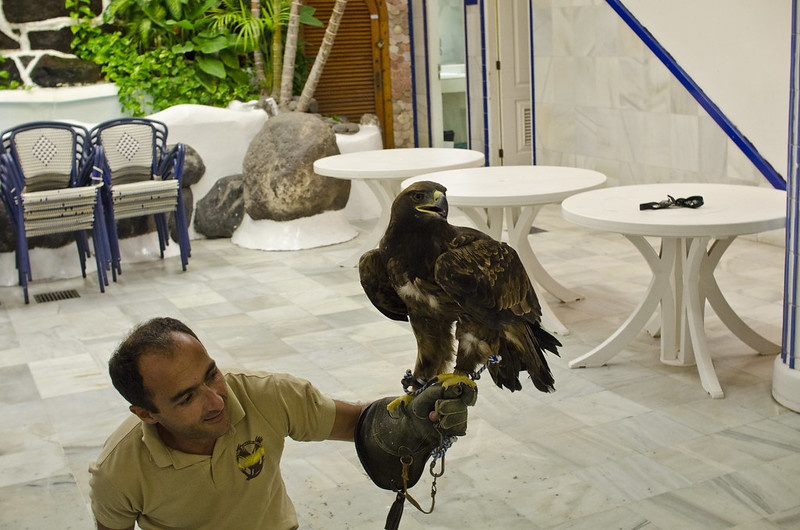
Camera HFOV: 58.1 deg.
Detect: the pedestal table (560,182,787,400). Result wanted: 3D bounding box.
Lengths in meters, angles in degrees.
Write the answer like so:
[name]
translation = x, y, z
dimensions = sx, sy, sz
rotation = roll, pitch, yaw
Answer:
[pedestal table]
translation = 1.669, 0.115, 4.414
dimensions = 1.336, 1.076, 0.981
rotation = -2, 15, 6
